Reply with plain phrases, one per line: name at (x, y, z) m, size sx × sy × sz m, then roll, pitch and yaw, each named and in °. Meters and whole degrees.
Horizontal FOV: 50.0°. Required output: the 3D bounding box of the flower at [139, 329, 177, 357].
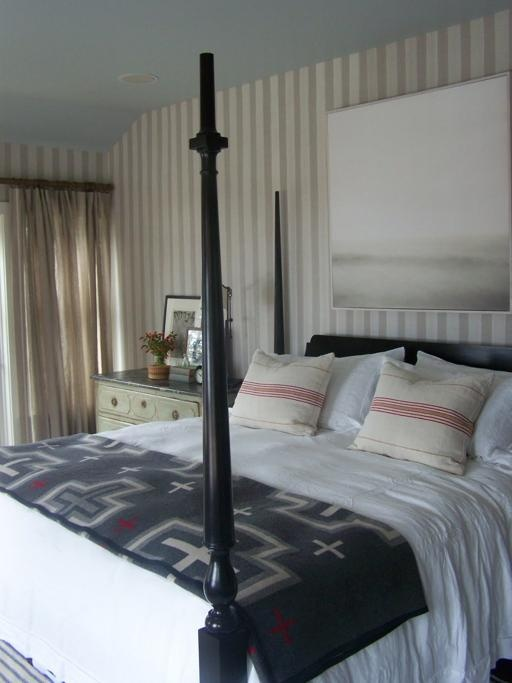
flower at (-0.693, 0.018, 3.903) m, size 0.232 × 0.188 × 0.247 m, roll -5°, pitch 8°, yaw -15°

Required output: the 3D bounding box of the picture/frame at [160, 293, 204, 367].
picture/frame at (-0.504, -0.063, 3.795) m, size 0.023 × 0.557 × 0.526 m, roll 4°, pitch -4°, yaw -40°

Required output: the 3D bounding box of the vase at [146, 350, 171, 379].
vase at (-0.687, 0.167, 3.899) m, size 0.198 × 0.202 × 0.200 m, roll 0°, pitch 0°, yaw 29°
